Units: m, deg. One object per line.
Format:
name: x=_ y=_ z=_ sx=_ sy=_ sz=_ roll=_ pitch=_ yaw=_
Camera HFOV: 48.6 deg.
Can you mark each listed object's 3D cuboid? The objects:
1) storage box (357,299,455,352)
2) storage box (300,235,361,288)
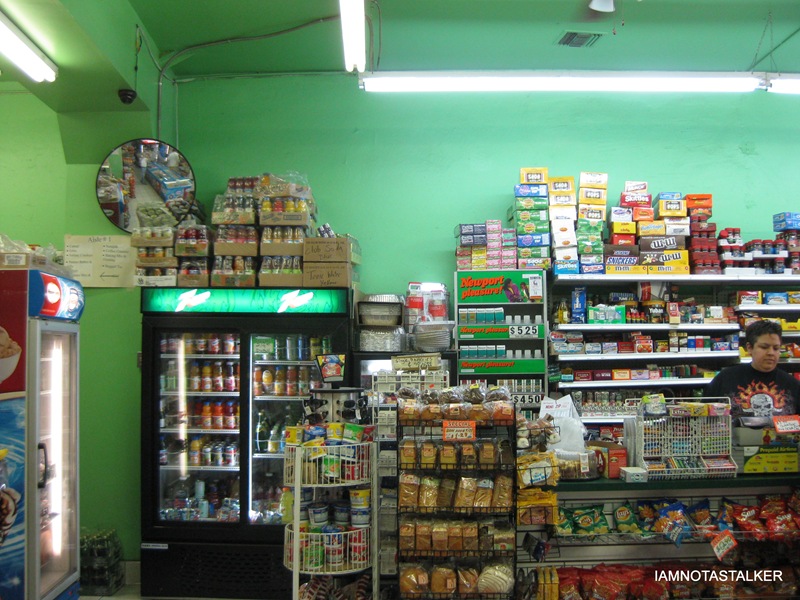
storage box: x=0.027 y=0.229 z=8.201 sx=0.815 sy=0.366 sz=0.472 roll=1 pitch=-2 yaw=-2
storage box: x=-0.607 y=-0.364 z=8.195 sx=0.616 sy=0.545 sz=0.433 roll=0 pitch=3 yaw=1
